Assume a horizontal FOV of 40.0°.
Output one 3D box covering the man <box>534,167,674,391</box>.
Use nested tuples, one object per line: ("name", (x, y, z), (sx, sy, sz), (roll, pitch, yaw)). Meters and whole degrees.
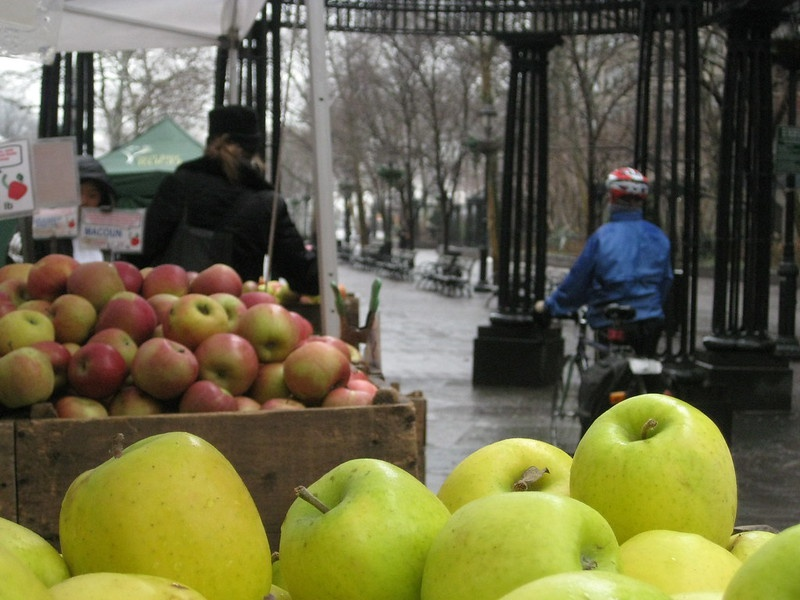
("man", (1.686, 0.005, 8.709), (0.936, 2.102, 0.816), (1, 3, -22))

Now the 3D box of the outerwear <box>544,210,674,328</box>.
("outerwear", (1.702, -0.260, 8.572), (0.916, 0.974, 0.638), (-3, 15, -15))

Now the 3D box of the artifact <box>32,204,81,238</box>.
("artifact", (-2.083, -0.473, 6.657), (0.256, 0.236, 0.065), (-7, -11, 34))

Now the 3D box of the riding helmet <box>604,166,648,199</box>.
("riding helmet", (1.750, -0.901, 8.576), (0.194, 0.273, 0.286), (0, 21, -3))

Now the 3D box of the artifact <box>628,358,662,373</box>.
("artifact", (1.673, 0.457, 7.498), (0.248, 0.099, 0.194), (6, 2, -7))

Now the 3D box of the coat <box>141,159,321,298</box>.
("coat", (-1.096, -0.285, 7.022), (1.175, 1.057, 0.741), (7, -17, -2))

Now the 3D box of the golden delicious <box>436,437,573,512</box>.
("golden delicious", (0.425, 0.666, 4.255), (0.323, 0.391, 0.344), (13, -3, -37))
